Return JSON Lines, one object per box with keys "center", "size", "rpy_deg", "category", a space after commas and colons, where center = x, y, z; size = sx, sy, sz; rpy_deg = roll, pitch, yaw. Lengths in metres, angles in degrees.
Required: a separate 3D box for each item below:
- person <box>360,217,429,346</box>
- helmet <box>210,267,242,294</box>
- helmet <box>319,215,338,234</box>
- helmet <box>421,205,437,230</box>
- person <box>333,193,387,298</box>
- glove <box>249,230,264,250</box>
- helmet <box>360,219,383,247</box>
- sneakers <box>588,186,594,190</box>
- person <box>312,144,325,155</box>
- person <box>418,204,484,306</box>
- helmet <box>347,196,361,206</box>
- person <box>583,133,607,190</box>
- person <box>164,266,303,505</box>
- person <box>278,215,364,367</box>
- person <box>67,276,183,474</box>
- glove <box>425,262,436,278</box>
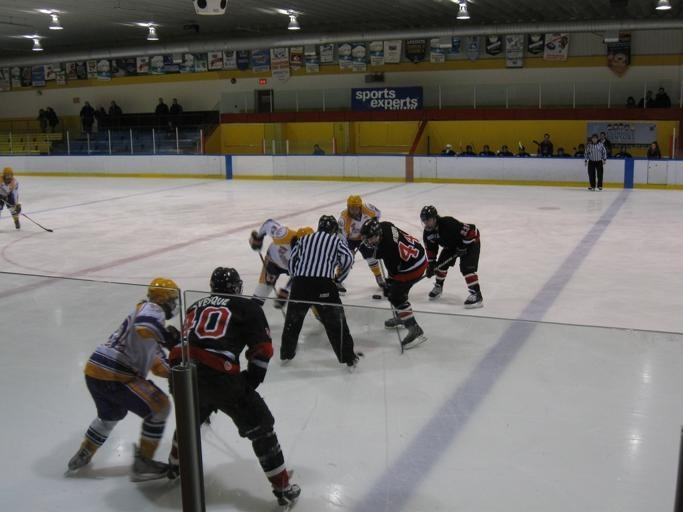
{"center": [0.510, 0.209, 5.388], "size": [0.576, 1.259, 0.483], "rpy_deg": [-10, 21, -6], "category": "person"}
{"center": [-0.613, 0.132, 2.951], "size": [0.128, 0.152, 0.147], "rpy_deg": [4, 15, 5], "category": "helmet"}
{"center": [-0.117, -0.283, 5.179], "size": [0.161, 0.208, 0.216], "rpy_deg": [1, -23, 3], "category": "helmet"}
{"center": [0.947, -0.427, 6.179], "size": [0.182, 0.240, 0.252], "rpy_deg": [-10, 24, 17], "category": "helmet"}
{"center": [0.251, -0.163, 6.754], "size": [0.510, 1.127, 0.590], "rpy_deg": [-12, 3, 41], "category": "person"}
{"center": [-0.894, -0.169, 5.868], "size": [0.132, 0.109, 0.316], "rpy_deg": [8, 4, -18], "category": "glove"}
{"center": [0.266, -0.207, 5.023], "size": [0.173, 0.211, 0.230], "rpy_deg": [-3, 11, 31], "category": "helmet"}
{"center": [7.114, -1.932, 15.967], "size": [0.083, 0.080, 0.122], "rpy_deg": [-4, 8, 11], "category": "sneakers"}
{"center": [-0.803, -3.819, 20.035], "size": [0.397, 0.368, 0.948], "rpy_deg": [-2, 11, -2], "category": "person"}
{"center": [1.251, -0.003, 6.523], "size": [0.834, 1.220, 0.724], "rpy_deg": [-10, 9, -38], "category": "person"}
{"center": [0.164, -0.659, 6.667], "size": [0.148, 0.105, 0.287], "rpy_deg": [-1, 11, 4], "category": "helmet"}
{"center": [7.118, -2.613, 15.791], "size": [0.491, 1.506, 0.639], "rpy_deg": [5, 13, 30], "category": "person"}
{"center": [-0.421, 0.632, 2.514], "size": [0.470, 0.919, 0.310], "rpy_deg": [-2, 12, 0], "category": "person"}
{"center": [-0.142, 0.249, 4.475], "size": [0.620, 1.144, 0.523], "rpy_deg": [2, -1, -4], "category": "person"}
{"center": [-0.966, 0.590, 2.798], "size": [0.592, 0.924, 0.560], "rpy_deg": [0, -8, 20], "category": "person"}
{"center": [1.027, 0.156, 6.454], "size": [0.147, 0.151, 0.148], "rpy_deg": [8, -28, 4], "category": "glove"}
